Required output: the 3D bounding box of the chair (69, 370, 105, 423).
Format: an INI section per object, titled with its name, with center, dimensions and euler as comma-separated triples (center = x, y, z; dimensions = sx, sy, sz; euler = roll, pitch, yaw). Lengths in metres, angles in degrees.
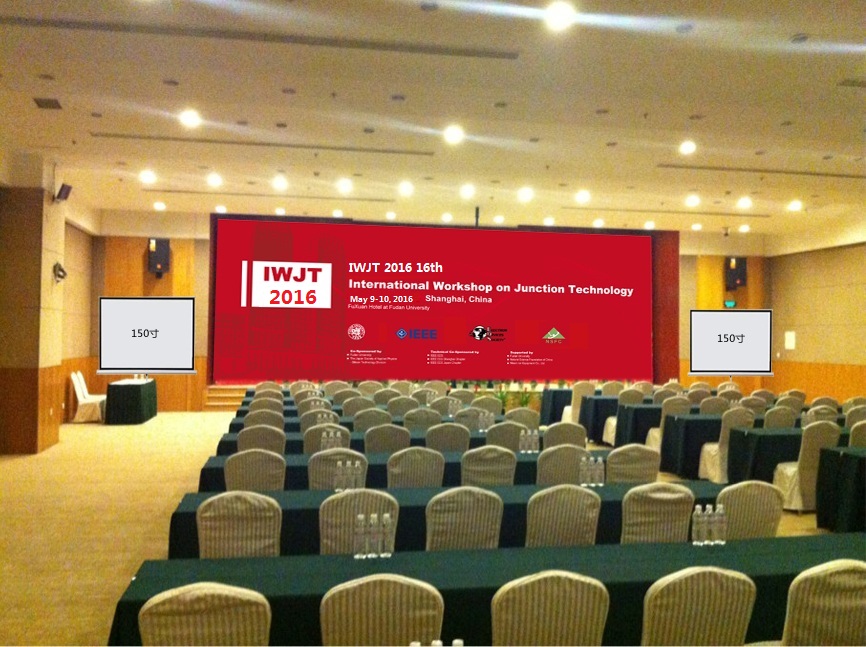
[chair]
center = -7.666, 1.612, 14.816
dimensions = 0.969, 1.102, 0.602
euler = -2, -5, 25
